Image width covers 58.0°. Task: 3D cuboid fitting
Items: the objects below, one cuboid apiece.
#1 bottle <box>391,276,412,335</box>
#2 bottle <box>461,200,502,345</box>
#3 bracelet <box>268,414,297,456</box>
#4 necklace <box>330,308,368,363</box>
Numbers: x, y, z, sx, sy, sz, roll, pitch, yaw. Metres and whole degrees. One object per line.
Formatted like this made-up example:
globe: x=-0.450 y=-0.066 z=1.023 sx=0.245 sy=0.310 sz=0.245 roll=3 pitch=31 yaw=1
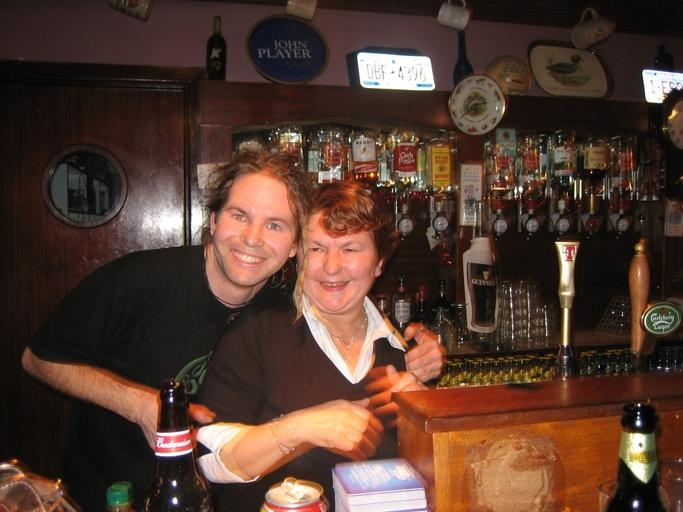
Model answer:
bottle: x=0.384 y=0.280 z=3.944 sx=0.097 sy=0.346 sz=0.097 roll=-2 pitch=28 yaw=1
bottle: x=0.884 y=0.179 z=3.911 sx=0.222 sy=0.618 sz=0.138 roll=2 pitch=-1 yaw=2
bracelet: x=-0.225 y=0.655 z=2.223 sx=0.034 sy=0.139 sz=0.103 roll=-24 pitch=-2 yaw=-23
necklace: x=0.017 y=0.316 z=2.669 sx=0.087 sy=0.257 sz=0.184 roll=-20 pitch=-1 yaw=10
